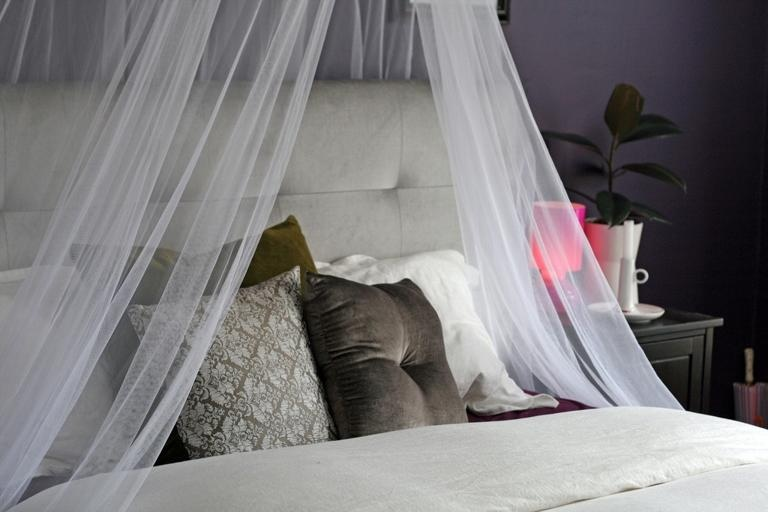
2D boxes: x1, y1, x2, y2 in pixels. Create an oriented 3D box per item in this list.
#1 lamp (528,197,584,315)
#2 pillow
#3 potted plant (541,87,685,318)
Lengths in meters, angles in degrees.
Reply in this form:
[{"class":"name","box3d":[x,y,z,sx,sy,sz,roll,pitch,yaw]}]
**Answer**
[{"class":"lamp","box3d":[0.480,-0.003,1.913,0.144,0.312,0.160,-21,25,-41]},{"class":"pillow","box3d":[-0.264,0.276,1.592,0.875,0.565,0.258,-2,-21,-36]},{"class":"potted plant","box3d":[0.939,-0.185,2.831,0.533,0.919,0.535,4,-4,26]}]
